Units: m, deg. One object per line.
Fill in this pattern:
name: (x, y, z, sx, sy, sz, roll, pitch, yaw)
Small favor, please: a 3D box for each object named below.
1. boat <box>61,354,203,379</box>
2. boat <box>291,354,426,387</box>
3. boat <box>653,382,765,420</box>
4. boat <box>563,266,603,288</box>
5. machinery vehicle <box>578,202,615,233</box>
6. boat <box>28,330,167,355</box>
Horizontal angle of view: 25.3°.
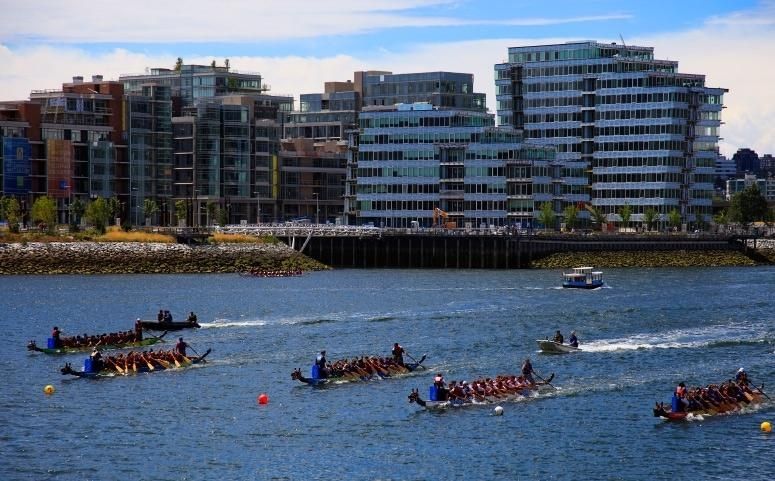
boat: (-34.966, 17.773, 243.262, 19.236, 2.060, 1.523, -4, 7, -15)
boat: (-3.699, 18.171, 241.744, 18.010, 3.179, 2.474, -4, 7, -15)
boat: (44.371, 22.569, 234.214, 14.146, 2.949, 5.659, -9, 13, -20)
boat: (35.411, 6.814, 305.840, 6.595, 2.533, 4.145, -4, 6, -26)
machinery vehicle: (47.001, -5.257, 383.682, 7.390, 6.172, 11.110, -3, 6, 5)
boat: (-42.288, 15.062, 253.811, 25.769, 3.297, 3.155, -1, -3, -20)
